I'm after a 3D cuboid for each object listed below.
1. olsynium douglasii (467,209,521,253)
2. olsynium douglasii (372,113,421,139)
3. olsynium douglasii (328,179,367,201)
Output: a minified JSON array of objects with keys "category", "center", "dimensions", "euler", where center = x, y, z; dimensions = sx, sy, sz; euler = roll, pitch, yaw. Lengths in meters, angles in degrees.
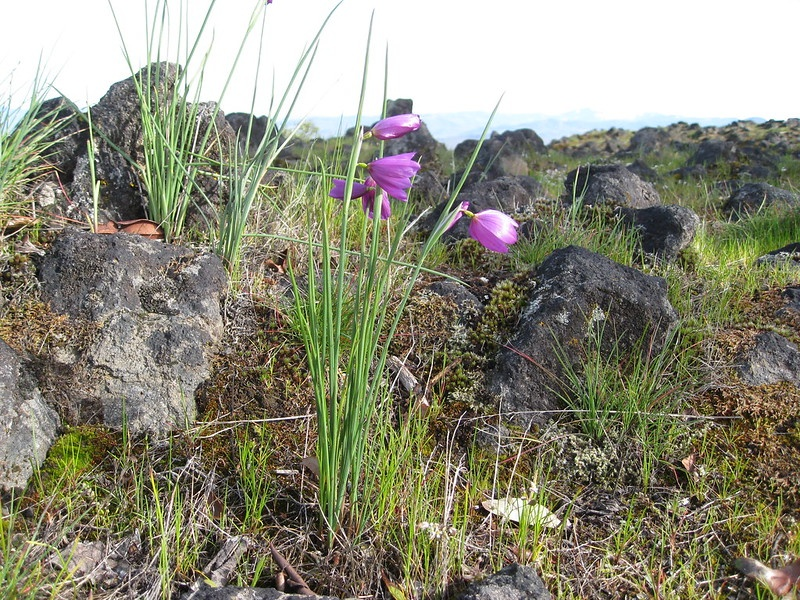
[{"category":"olsynium douglasii","center":[0.478,-0.357,3.657],"dimensions":[0.242,0.192,0.183],"euler":[8,3,-9]},{"category":"olsynium douglasii","center":[-0.025,-0.874,3.594],"dimensions":[0.238,0.124,0.269],"euler":[10,3,-3]},{"category":"olsynium douglasii","center":[-0.271,-0.559,3.637],"dimensions":[0.203,0.083,0.221],"euler":[7,5,-45]}]
